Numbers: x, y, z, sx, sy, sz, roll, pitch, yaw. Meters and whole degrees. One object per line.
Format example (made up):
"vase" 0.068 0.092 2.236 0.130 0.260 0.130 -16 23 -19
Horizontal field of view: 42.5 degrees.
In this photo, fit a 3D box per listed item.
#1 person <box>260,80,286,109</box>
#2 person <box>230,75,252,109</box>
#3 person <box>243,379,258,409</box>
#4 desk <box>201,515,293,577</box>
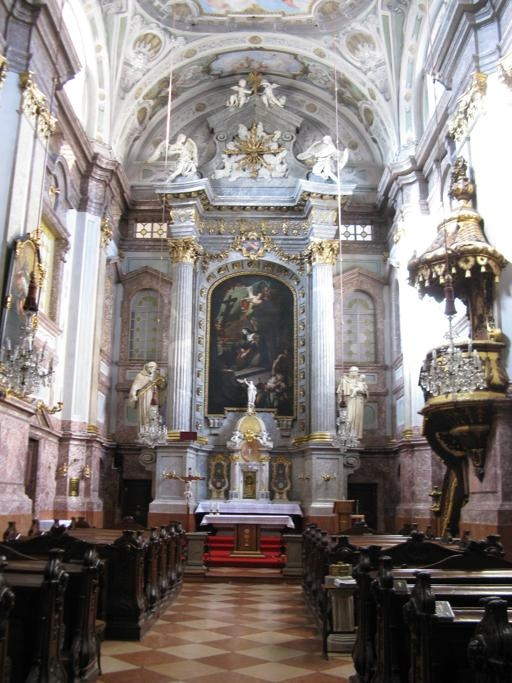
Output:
"person" 0.397 -6.488 17.164 0.731 0.662 0.339 19 -25 -13
"person" -0.433 -6.473 17.013 0.609 1.001 1.033 1 -14 0
"person" -0.148 1.297 15.912 0.303 0.839 0.455 1 -15 -2
"desk" -0.137 3.790 12.685 1.867 0.774 1.280 -1 -24 5
